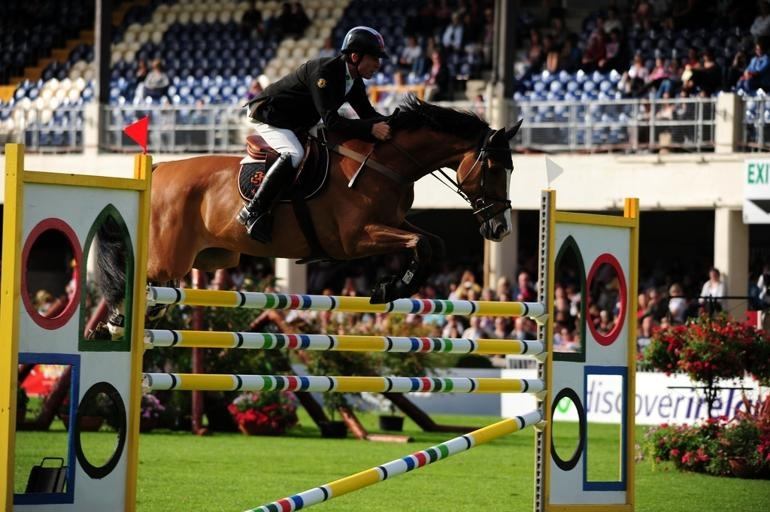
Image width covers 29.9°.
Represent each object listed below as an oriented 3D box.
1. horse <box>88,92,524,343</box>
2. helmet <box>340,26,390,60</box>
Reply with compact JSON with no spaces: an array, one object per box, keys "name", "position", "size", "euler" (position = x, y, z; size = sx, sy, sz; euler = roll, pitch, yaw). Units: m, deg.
[{"name":"horse","position":[-0.847,-0.274,14.231],"size":[4.355,2.266,1.035],"euler":[-6,-2,14]},{"name":"helmet","position":[-0.184,-2.040,13.858],"size":[0.475,0.282,0.339],"euler":[7,17,20]}]
